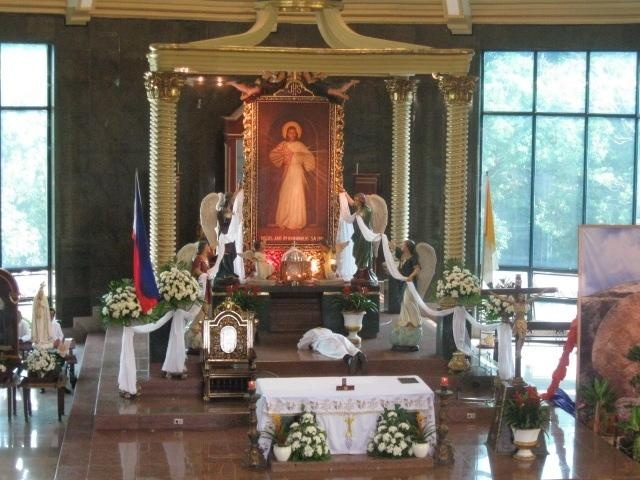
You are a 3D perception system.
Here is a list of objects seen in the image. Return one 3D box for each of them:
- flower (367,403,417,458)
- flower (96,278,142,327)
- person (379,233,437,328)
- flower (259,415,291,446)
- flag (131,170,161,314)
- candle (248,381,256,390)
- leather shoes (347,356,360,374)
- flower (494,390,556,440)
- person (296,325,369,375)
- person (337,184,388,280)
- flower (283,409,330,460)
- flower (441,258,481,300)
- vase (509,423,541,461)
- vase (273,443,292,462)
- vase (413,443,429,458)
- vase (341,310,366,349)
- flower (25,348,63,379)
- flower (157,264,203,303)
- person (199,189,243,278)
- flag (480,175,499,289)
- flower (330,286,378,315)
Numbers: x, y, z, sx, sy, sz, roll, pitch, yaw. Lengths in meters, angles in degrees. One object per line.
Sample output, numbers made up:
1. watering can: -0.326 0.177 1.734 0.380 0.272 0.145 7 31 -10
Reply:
1. flower: 0.978 2.584 12.534 0.491 0.715 0.460 3 -18 -4
2. flower: -2.967 0.865 14.096 0.505 0.395 0.479 -12 -18 27
3. person: 1.509 0.646 16.275 0.665 2.139 1.103 6 -14 -18
4. flower: -0.592 2.520 12.538 0.351 0.325 0.395 3 7 22
5. flag: -2.594 0.070 13.986 0.384 2.003 0.416 0 3 -13
6. candle: -0.917 1.928 12.534 0.081 0.123 0.249 0 3 -7
7. leather shoes: 0.524 1.878 14.309 0.150 0.304 0.102 -1 11 -19
8. flower: 2.755 2.280 12.839 0.586 0.719 0.618 -1 2 20
9. person: 0.115 1.728 15.002 1.272 0.429 0.708 16 1 40
10. person: 0.708 -0.061 16.434 0.886 1.582 0.771 1 3 4
11. flower: -0.145 2.623 12.567 0.514 0.632 0.527 -4 -2 44
12. flower: 2.213 0.612 14.863 0.491 0.490 0.539 0 6 13
13. vase: 2.812 2.751 12.893 0.421 0.459 0.500 2 -4 -4
14. vase: -0.489 2.785 12.405 0.187 0.158 0.201 -1 3 -14
15. vase: 1.351 2.793 12.623 0.172 0.144 0.186 -4 4 -10
16. vase: 0.561 1.480 15.589 0.434 0.667 0.498 0 2 14
17. flower: -4.289 1.822 14.543 0.443 0.472 0.466 15 25 -24
18. flower: -2.178 0.655 14.413 0.442 0.333 0.460 -48 13 -27
19. person: -1.639 -0.037 16.044 0.595 1.535 1.179 2 3 27
20. flag: 2.665 -0.079 14.973 0.217 2.097 0.311 -20 28 -33
21. flower: 0.570 1.009 15.743 0.457 0.331 0.512 2 1 23
